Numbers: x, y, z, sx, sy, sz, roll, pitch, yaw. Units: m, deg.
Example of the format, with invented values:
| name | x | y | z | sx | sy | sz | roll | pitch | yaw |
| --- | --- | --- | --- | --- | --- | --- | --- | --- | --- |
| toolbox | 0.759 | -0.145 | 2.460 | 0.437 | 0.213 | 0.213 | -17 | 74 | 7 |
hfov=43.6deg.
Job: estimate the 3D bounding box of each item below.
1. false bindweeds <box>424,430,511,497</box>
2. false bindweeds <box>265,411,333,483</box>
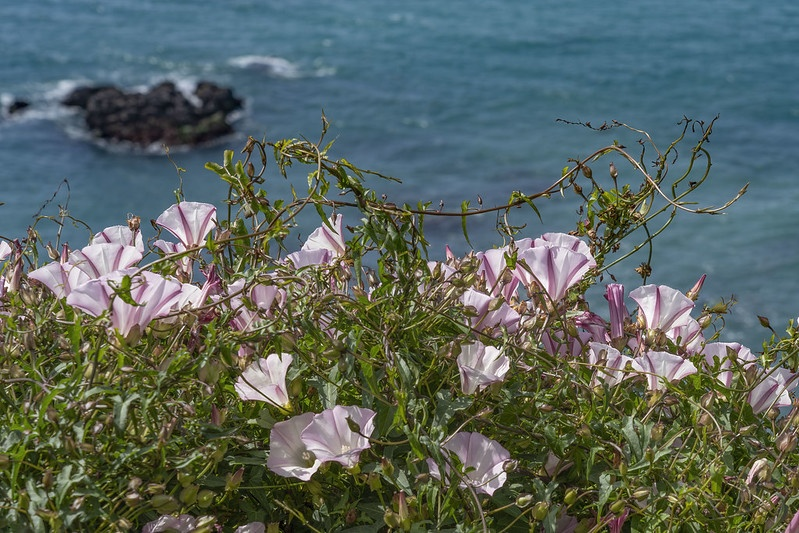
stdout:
| name | x | y | z | sx | sy | sz | roll | pitch | yaw |
| --- | --- | --- | --- | --- | --- | --- | --- | --- | --- |
| false bindweeds | 0.164 | 0.437 | 2.336 | 0.147 | 0.062 | 0.151 | -2 | 14 | 17 |
| false bindweeds | -0.224 | 0.420 | 2.334 | 0.174 | 0.090 | 0.179 | -48 | 15 | -2 |
